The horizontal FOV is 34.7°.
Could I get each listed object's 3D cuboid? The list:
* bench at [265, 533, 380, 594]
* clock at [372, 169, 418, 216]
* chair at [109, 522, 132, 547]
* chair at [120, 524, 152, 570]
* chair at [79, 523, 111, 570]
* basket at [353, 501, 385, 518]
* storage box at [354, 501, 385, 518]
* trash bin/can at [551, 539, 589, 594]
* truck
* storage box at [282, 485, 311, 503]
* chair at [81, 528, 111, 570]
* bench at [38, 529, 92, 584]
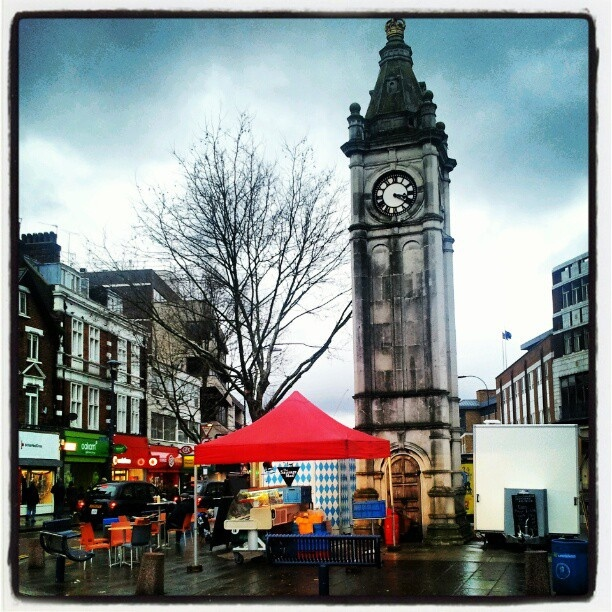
[{"bbox_3d":[0.313,4.315,16.308,1.820,1.169,0.711,-1,1,2],"label":"bench"},{"bbox_3d":[2.788,-3.415,29.990,1.241,1.631,0.102,1,-12,10],"label":"clock"},{"bbox_3d":[-3.895,4.783,20.588,0.548,0.701,0.489,3,-10,-17],"label":"chair"},{"bbox_3d":[-3.527,5.014,20.692,0.500,0.973,0.564,2,0,-44],"label":"chair"},{"bbox_3d":[-4.177,4.847,20.025,0.467,0.869,0.449,-2,0,-14],"label":"chair"},{"bbox_3d":[1.568,4.910,23.568,0.644,0.415,0.899,6,-14,-32],"label":"basket"},{"bbox_3d":[1.592,4.913,23.555,0.680,0.429,0.976,3,-13,-19],"label":"storage box"},{"bbox_3d":[4.555,4.491,16.917,0.605,0.889,0.578,-4,-11,15],"label":"trash bin/can"},{"bbox_3d":[5.362,4.184,23.886,3.380,3.913,2.303,-3,-13,15],"label":"truck"},{"bbox_3d":[-0.254,4.373,22.665,0.396,0.372,0.713,-4,-13,26],"label":"storage box"},{"bbox_3d":[-4.172,4.831,19.953,0.517,0.833,0.531,-1,2,13],"label":"chair"},{"bbox_3d":[-4.516,4.738,18.624,0.630,0.964,1.156,-2,-2,-37],"label":"bench"}]
